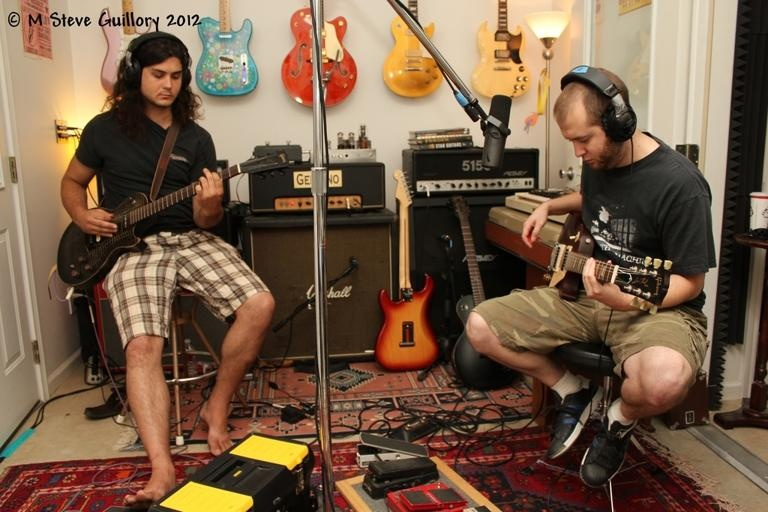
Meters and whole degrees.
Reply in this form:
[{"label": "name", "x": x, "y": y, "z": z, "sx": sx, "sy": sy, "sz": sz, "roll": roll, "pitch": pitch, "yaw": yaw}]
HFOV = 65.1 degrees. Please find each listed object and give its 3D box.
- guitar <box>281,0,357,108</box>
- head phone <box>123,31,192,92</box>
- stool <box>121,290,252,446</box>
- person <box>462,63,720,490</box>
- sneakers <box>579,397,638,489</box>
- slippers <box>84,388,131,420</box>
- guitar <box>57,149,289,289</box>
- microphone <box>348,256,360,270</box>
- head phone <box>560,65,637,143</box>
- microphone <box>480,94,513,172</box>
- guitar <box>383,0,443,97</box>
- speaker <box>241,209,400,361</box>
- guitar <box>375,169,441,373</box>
[{"label": "guitar", "x": -0.451, "y": -1.391, "z": 4.187, "sx": 0.547, "sy": 0.681, "sz": 0.314, "roll": -4, "pitch": 14, "yaw": -8}, {"label": "head phone", "x": -1.176, "y": -1.026, "z": 3.194, "sx": 0.368, "sy": 0.308, "sz": 0.133, "roll": -1, "pitch": 3, "yaw": -6}, {"label": "stool", "x": -1.045, "y": 0.562, "z": 3.068, "sx": 0.624, "sy": 0.633, "sz": 0.598, "roll": 1, "pitch": 14, "yaw": -29}, {"label": "person", "x": 0.961, "y": 0.121, "z": 2.760, "sx": 0.938, "sy": 1.912, "sz": 0.666, "roll": 5, "pitch": 15, "yaw": 28}, {"label": "sneakers", "x": 0.976, "y": 0.823, "z": 2.670, "sx": 0.263, "sy": 0.367, "sz": 0.106, "roll": -9, "pitch": 15, "yaw": -26}, {"label": "slippers", "x": -1.573, "y": 0.846, "z": 3.518, "sx": 0.117, "sy": 0.135, "sz": 0.351, "roll": 5, "pitch": 5, "yaw": 25}, {"label": "guitar", "x": -1.176, "y": -0.197, "z": 3.331, "sx": 0.859, "sy": 0.309, "sz": 0.122, "roll": -25, "pitch": -15, "yaw": 1}, {"label": "microphone", "x": -0.202, "y": 0.042, "z": 3.945, "sx": 0.090, "sy": 0.121, "sz": 0.067, "roll": -2, "pitch": 6, "yaw": -16}, {"label": "head phone", "x": 0.929, "y": -0.701, "z": 2.660, "sx": 0.137, "sy": 0.321, "sz": 0.363, "roll": -37, "pitch": 28, "yaw": 2}, {"label": "microphone", "x": 0.427, "y": -0.481, "z": 2.340, "sx": 0.104, "sy": 0.283, "sz": 0.154, "roll": 0, "pitch": 14, "yaw": 10}, {"label": "guitar", "x": 0.191, "y": -1.482, "z": 4.302, "sx": 0.427, "sy": 0.683, "sz": 0.194, "roll": -2, "pitch": 13, "yaw": 0}, {"label": "speaker", "x": -0.328, "y": 0.148, "z": 4.338, "sx": 1.421, "sy": 1.354, "sz": 0.866, "roll": -1, "pitch": 5, "yaw": -5}, {"label": "guitar", "x": 0.152, "y": 0.106, "z": 3.918, "sx": 0.368, "sy": 1.263, "sz": 0.402, "roll": 2, "pitch": 14, "yaw": 17}]
